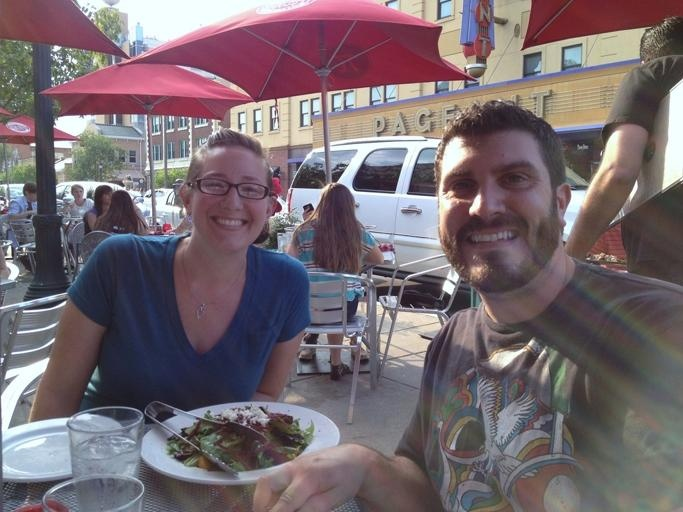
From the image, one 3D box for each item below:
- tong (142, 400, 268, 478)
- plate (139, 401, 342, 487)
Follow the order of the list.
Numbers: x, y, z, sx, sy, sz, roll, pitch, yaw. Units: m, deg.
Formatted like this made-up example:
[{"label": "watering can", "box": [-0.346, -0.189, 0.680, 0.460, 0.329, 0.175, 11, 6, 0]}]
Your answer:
[{"label": "tong", "box": [-0.530, 0.592, 1.982, 0.499, 0.063, 0.186, 12, 17, 40]}, {"label": "plate", "box": [-0.373, 0.574, 1.968, 0.605, 0.216, 0.477, 3, 2, -43]}]
